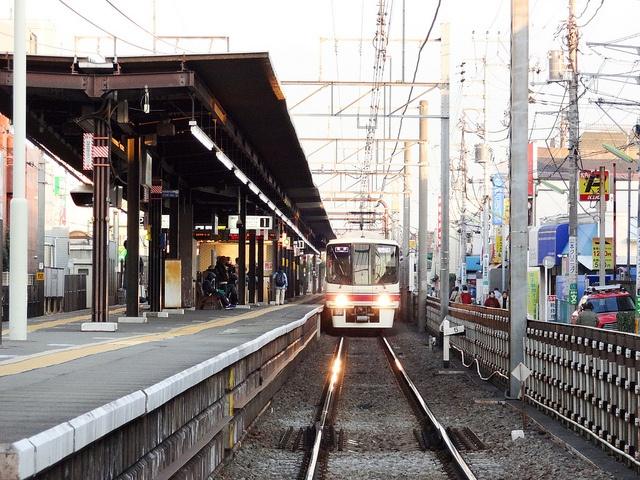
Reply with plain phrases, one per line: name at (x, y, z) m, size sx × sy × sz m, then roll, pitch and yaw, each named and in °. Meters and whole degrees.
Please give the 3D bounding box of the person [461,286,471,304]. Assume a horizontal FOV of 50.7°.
person at (5.450, 2.058, 25.202) m, size 0.341 × 0.690 × 1.303 m, roll -4°, pitch -2°, yaw 11°

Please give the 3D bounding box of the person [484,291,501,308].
person at (5.997, 2.074, 23.351) m, size 0.298 × 0.550 × 1.542 m, roll -4°, pitch -3°, yaw 10°

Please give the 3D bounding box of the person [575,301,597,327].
person at (5.774, 1.617, 14.558) m, size 0.383 × 0.557 × 0.776 m, roll -5°, pitch -2°, yaw 19°

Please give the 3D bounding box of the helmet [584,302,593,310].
helmet at (5.789, 1.478, 14.526) m, size 0.203 × 0.185 × 0.307 m, roll 4°, pitch 7°, yaw 27°

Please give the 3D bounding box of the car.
car at (8.384, 2.038, 19.770) m, size 1.013 × 1.267 × 1.936 m, roll -1°, pitch -10°, yaw 5°
